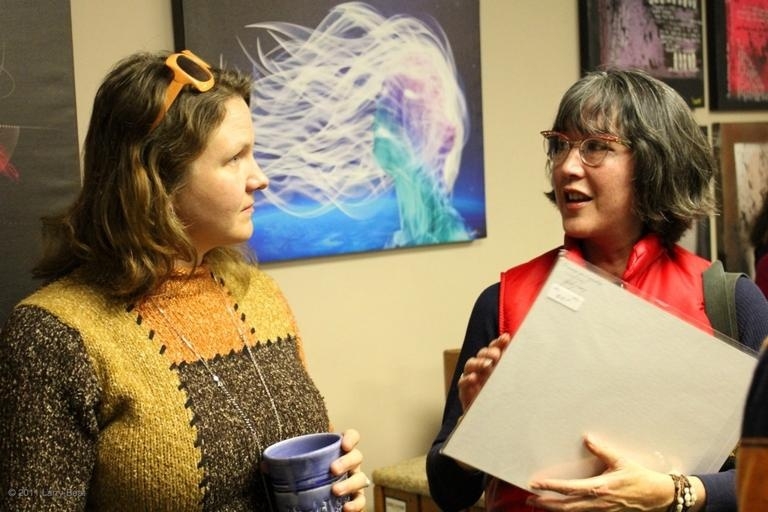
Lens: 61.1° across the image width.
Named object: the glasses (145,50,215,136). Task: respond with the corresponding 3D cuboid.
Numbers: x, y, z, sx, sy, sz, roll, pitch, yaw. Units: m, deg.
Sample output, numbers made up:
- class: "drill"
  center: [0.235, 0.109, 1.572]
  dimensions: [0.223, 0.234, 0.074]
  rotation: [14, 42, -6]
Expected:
- class: "glasses"
  center: [-0.483, -0.380, 1.605]
  dimensions: [0.047, 0.186, 0.143]
  rotation: [23, 23, -30]
